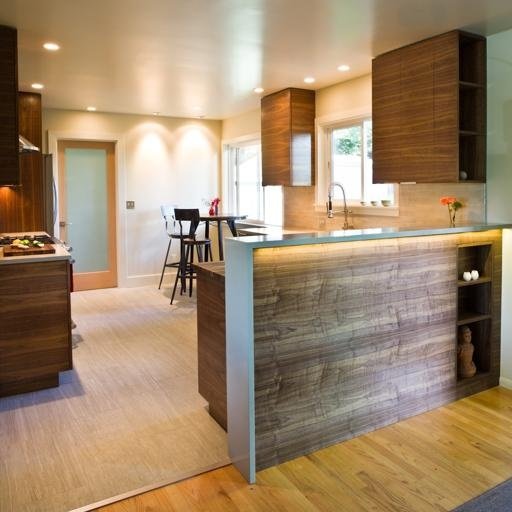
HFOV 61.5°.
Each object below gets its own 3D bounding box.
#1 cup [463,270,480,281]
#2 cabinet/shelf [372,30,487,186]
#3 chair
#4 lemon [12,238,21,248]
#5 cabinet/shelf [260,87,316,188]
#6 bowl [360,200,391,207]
[{"bbox_3d":[1.429,0.131,2.878,0.066,0.056,0.102,-3,-4,3],"label":"cup"},{"bbox_3d":[1.288,-1.102,3.142,0.347,1.181,0.976,-3,6,-22],"label":"cabinet/shelf"},{"bbox_3d":[-0.901,-0.087,6.037,0.960,1.198,1.556,-3,8,-15],"label":"chair"},{"bbox_3d":[-2.018,-0.110,3.625,0.098,0.058,0.096,8,-10,-35],"label":"lemon"},{"bbox_3d":[0.332,-1.310,4.805,0.619,1.044,0.413,1,8,16],"label":"cabinet/shelf"},{"bbox_3d":[1.125,-0.501,4.091,0.110,0.061,0.372,-3,8,-18],"label":"bowl"}]
